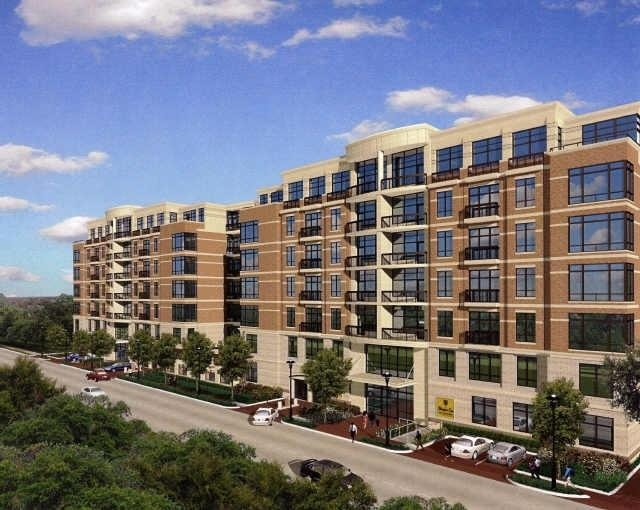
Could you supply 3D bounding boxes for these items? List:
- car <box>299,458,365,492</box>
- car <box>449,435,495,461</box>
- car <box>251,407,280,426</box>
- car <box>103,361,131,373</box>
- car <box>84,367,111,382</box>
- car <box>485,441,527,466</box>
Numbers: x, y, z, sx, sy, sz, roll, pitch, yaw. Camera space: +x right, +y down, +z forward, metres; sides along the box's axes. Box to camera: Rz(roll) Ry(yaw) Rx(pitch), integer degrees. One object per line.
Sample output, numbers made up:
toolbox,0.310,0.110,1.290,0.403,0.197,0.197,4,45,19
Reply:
car,0.430,14.805,44.062,4.587,1.536,2.111,-7,-6,44
car,11.726,14.707,49.545,1.433,0.846,2.909,3,8,41
car,-4.863,14.271,57.426,1.782,1.321,2.758,-1,-9,22
car,-25.286,14.112,81.761,2.707,0.809,1.880,7,-8,-41
car,-26.101,14.002,76.210,1.476,0.985,2.467,0,2,-42
car,14.037,14.803,48.339,2.495,0.834,1.369,-7,7,-44
